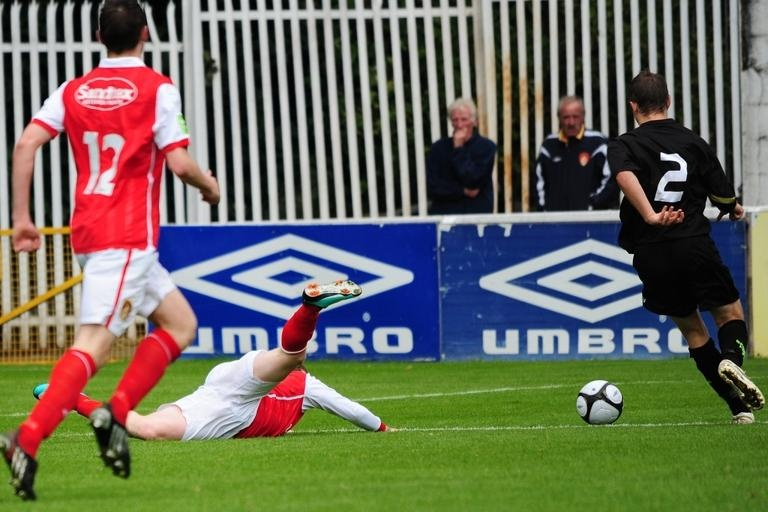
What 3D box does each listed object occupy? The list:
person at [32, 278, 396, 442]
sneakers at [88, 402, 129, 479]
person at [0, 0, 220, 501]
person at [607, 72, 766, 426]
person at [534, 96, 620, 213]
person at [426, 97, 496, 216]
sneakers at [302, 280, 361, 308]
[{"bbox_3d":[-0.959,0.828,12.060,1.926,0.865,1.278,-1,-1,-32],"label":"person"},{"bbox_3d":[-1.842,1.238,10.968,0.180,0.543,0.246,-15,8,13],"label":"sneakers"},{"bbox_3d":[-2.020,-0.120,11.437,1.533,3.292,0.930,-7,11,-38],"label":"person"},{"bbox_3d":[2.274,-0.078,12.450,1.083,2.595,0.624,1,9,10],"label":"person"},{"bbox_3d":[1.815,-0.948,15.157,0.779,1.072,0.320,1,9,8],"label":"person"},{"bbox_3d":[0.741,-0.912,15.211,0.646,1.084,0.334,0,9,2],"label":"person"},{"bbox_3d":[-0.386,0.299,11.963,0.366,0.137,0.221,-12,43,-2],"label":"sneakers"}]
